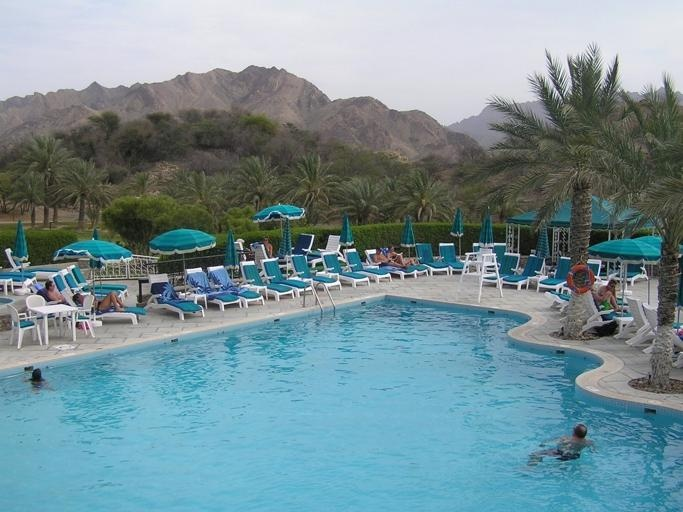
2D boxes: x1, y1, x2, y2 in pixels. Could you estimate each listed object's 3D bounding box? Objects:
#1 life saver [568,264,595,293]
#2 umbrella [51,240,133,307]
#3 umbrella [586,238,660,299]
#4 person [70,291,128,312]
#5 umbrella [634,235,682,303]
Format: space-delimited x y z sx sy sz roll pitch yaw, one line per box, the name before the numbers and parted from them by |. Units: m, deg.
life saver | 6.122 0.571 13.507 0.249 0.800 0.850 -6 9 43
umbrella | -7.255 0.362 15.378 1.862 1.594 1.781 -2 7 -35
umbrella | 8.054 0.356 15.272 2.036 1.734 1.855 0 9 13
person | -7.099 1.301 14.937 1.820 0.644 0.559 0 3 5
umbrella | 9.419 0.200 15.857 1.702 1.591 1.682 3 10 33
